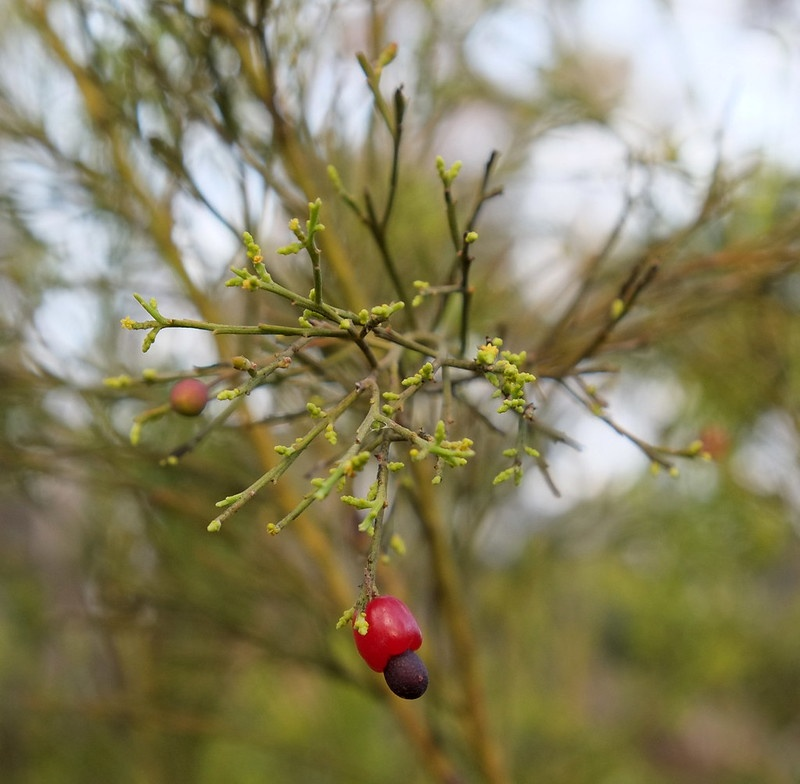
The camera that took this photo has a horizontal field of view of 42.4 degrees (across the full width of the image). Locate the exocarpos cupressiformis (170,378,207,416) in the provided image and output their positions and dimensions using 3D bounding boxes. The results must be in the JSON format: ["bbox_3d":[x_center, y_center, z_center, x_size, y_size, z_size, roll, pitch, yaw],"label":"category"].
[{"bbox_3d":[-0.292,0.008,1.418,0.053,0.041,0.045,-6,74,21],"label":"exocarpos cupressiformis"}]

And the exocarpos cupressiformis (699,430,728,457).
[{"bbox_3d":[0.479,0.079,1.575,0.046,0.033,0.037,-4,49,-1],"label":"exocarpos cupressiformis"}]
